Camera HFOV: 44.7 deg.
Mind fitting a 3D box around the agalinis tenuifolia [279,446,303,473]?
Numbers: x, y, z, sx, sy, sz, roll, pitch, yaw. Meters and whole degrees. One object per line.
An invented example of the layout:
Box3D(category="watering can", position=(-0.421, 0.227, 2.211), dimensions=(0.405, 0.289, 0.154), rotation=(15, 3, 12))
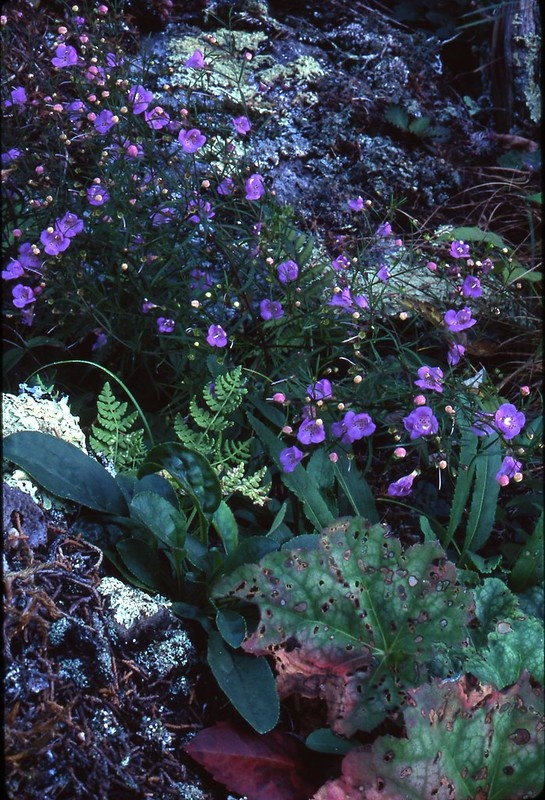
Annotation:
Box3D(category="agalinis tenuifolia", position=(0.035, 0.111, 1.239), dimensions=(0.046, 0.060, 0.051), rotation=(-2, 18, -7))
